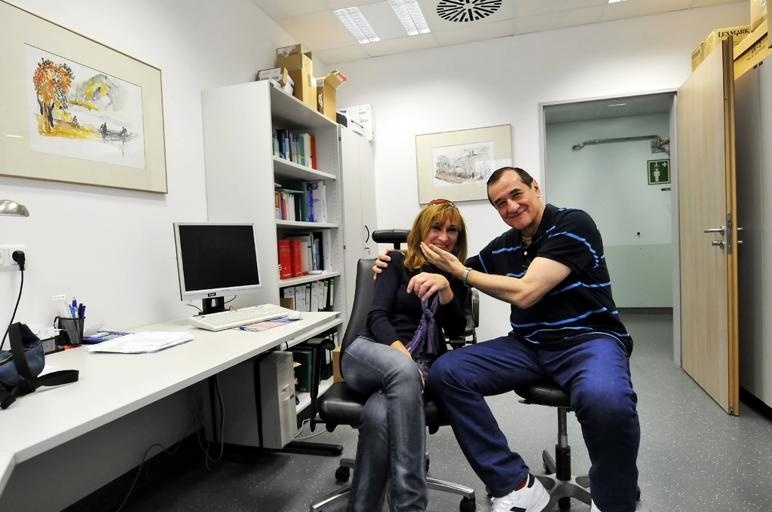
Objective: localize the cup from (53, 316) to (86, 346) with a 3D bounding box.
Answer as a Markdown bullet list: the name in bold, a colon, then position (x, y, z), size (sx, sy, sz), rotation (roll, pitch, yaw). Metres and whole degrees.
- **cup**: position (-1.728, 0.416, 2.863), size (0.168, 0.157, 0.143), rotation (-9, -6, 37)

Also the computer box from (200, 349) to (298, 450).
- **computer box**: position (-0.747, 0.962, 3.578), size (0.715, 0.693, 0.428), rotation (-1, -2, 12)

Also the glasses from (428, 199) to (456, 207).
- **glasses**: position (0.315, -0.306, 2.976), size (0.132, 0.047, 0.115), rotation (3, 5, 24)

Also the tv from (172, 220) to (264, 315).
- **tv**: position (-1.105, 0.065, 3.377), size (0.279, 0.657, 0.619), rotation (-11, -5, 41)
